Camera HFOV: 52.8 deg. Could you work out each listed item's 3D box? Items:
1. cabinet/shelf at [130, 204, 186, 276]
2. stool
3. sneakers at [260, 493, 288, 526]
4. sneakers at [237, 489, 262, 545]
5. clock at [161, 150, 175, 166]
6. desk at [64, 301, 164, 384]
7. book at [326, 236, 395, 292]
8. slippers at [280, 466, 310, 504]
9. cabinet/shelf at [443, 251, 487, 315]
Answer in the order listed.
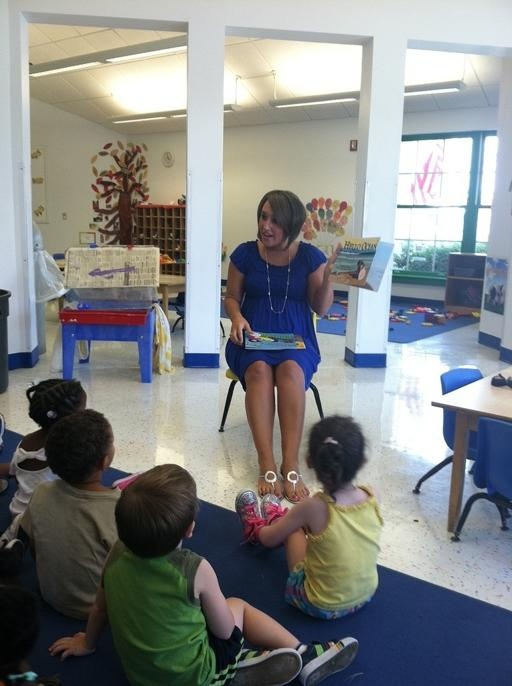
[{"bbox_3d":[-1.846,-2.178,10.172,0.476,1.042,1.610,-6,12,-37],"label":"cabinet/shelf"},{"bbox_3d":[0.127,0.167,3.262,0.699,1.038,0.719,1,4,8],"label":"stool"},{"bbox_3d":[0.074,0.636,1.991,0.053,0.059,0.150,13,37,-16],"label":"sneakers"},{"bbox_3d":[-0.027,0.651,1.936,0.065,0.177,0.074,-2,-32,-3],"label":"sneakers"},{"bbox_3d":[-2.153,-4.419,12.466,0.388,0.372,0.033,8,12,36],"label":"clock"},{"bbox_3d":[-1.190,-0.035,4.361,0.624,0.481,0.629,0,8,-3],"label":"desk"},{"bbox_3d":[0.522,-0.394,2.598,0.289,0.260,0.323,5,10,22],"label":"book"},{"bbox_3d":[0.161,0.645,2.356,0.114,0.106,0.267,-4,15,-10],"label":"slippers"},{"bbox_3d":[3.497,-0.967,8.594,0.362,0.958,1.105,-4,11,-27],"label":"cabinet/shelf"}]
